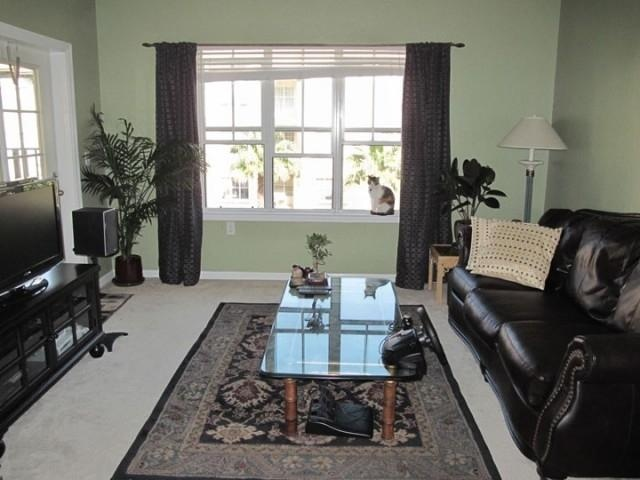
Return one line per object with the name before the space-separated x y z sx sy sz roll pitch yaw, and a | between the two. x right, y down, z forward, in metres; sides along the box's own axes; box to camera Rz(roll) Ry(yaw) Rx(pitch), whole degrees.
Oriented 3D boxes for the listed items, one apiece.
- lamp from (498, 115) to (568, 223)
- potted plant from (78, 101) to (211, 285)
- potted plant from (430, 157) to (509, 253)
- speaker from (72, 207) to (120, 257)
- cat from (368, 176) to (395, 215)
lamp | 2.066 -0.673 4.868 0.575 1.069 0.690 5 14 25
potted plant | -1.816 -0.468 5.179 1.153 1.859 0.659 -3 13 -10
potted plant | 1.536 -0.460 5.118 0.877 1.036 0.860 4 16 26
speaker | -1.746 -0.068 3.856 0.266 0.372 0.282 1 12 8
cat | 0.641 -0.487 5.386 0.372 0.484 0.274 4 4 4
